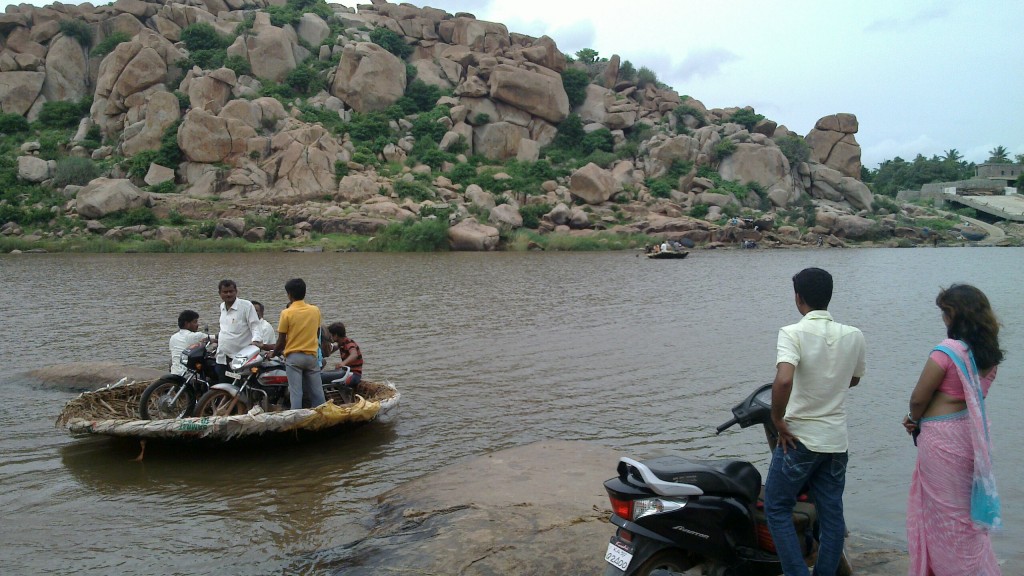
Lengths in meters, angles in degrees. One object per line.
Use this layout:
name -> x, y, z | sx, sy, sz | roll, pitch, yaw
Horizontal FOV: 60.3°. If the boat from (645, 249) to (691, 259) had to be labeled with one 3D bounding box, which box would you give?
boat -> 14.035, -3.088, 80.277 | 3.686, 0.750, 1.733 | -1, 3, -10
